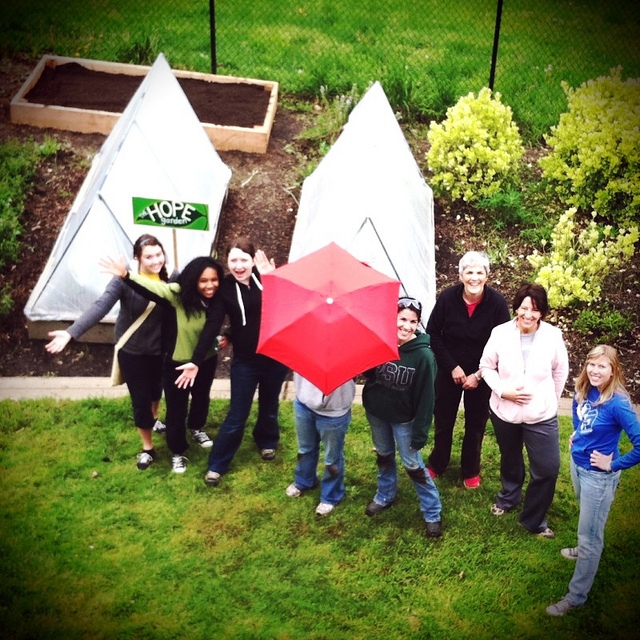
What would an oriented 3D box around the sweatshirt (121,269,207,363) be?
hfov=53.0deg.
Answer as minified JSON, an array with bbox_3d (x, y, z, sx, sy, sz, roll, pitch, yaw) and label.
[{"bbox_3d":[-1.236,-0.033,5.122,0.580,0.611,0.199,24,42,-22],"label":"sweatshirt"}]

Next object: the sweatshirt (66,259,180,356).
[{"bbox_3d":[-1.434,-0.101,5.278,1.236,0.750,0.308,1,12,-14],"label":"sweatshirt"}]

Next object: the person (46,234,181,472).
[{"bbox_3d":[-1.483,0.287,5.383,1.507,1.919,0.594,-13,25,-38],"label":"person"}]

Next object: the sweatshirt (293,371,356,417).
[{"bbox_3d":[0.036,0.570,4.687,0.430,0.319,0.242,0,11,0],"label":"sweatshirt"}]

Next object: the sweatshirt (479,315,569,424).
[{"bbox_3d":[1.512,0.339,4.753,0.599,0.785,0.405,3,20,14],"label":"sweatshirt"}]

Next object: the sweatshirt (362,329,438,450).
[{"bbox_3d":[0.570,0.440,4.710,0.303,0.751,0.762,1,15,-39],"label":"sweatshirt"}]

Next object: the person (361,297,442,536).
[{"bbox_3d":[0.565,0.717,4.779,0.781,1.835,0.524,7,23,14],"label":"person"}]

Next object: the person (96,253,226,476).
[{"bbox_3d":[-1.206,0.395,5.350,0.826,1.892,0.771,-3,10,-17],"label":"person"}]

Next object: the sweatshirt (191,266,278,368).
[{"bbox_3d":[-0.655,-0.041,4.992,0.170,0.393,0.661,24,40,39],"label":"sweatshirt"}]

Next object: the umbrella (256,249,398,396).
[{"bbox_3d":[0.066,-0.001,4.431,1.022,0.386,1.237,8,58,6],"label":"umbrella"}]

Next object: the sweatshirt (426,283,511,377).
[{"bbox_3d":[1.158,0.107,5.003,0.475,0.586,0.310,13,24,11],"label":"sweatshirt"}]

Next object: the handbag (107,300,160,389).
[{"bbox_3d":[-1.527,0.226,5.351,0.147,0.593,0.589,37,47,14],"label":"handbag"}]

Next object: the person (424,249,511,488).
[{"bbox_3d":[1.187,0.448,5.246,0.597,2.019,0.611,2,14,0],"label":"person"}]
